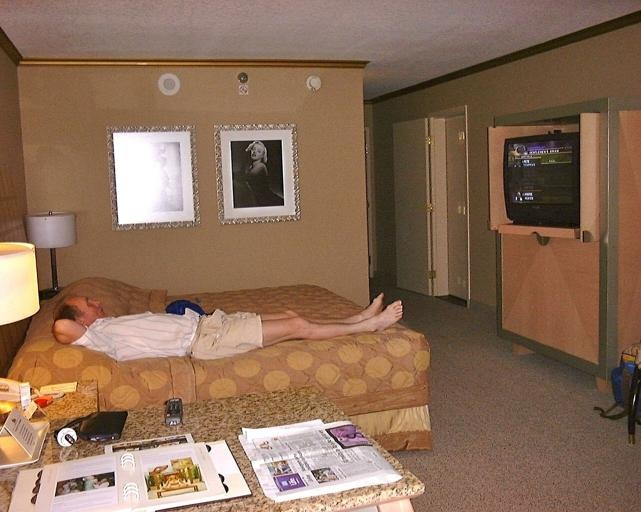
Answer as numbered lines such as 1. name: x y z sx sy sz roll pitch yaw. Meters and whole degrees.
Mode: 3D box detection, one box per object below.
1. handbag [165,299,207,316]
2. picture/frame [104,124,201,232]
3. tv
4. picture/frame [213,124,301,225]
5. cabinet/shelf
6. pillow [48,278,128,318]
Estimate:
1. handbag: -1.020 0.391 3.714 0.239 0.098 0.187 5 5 16
2. picture/frame: -1.714 -0.805 4.966 1.027 1.199 0.089 -4 4 -10
3. tv: 1.832 -0.631 4.110 0.415 0.750 0.731 -6 12 -19
4. picture/frame: -0.709 -0.895 5.265 1.069 1.184 0.055 -2 7 -11
5. cabinet/shelf: 1.958 -0.140 4.200 0.444 2.178 1.174 -6 9 -23
6. pillow: -1.685 0.295 3.680 0.364 0.105 0.363 -3 9 -18
